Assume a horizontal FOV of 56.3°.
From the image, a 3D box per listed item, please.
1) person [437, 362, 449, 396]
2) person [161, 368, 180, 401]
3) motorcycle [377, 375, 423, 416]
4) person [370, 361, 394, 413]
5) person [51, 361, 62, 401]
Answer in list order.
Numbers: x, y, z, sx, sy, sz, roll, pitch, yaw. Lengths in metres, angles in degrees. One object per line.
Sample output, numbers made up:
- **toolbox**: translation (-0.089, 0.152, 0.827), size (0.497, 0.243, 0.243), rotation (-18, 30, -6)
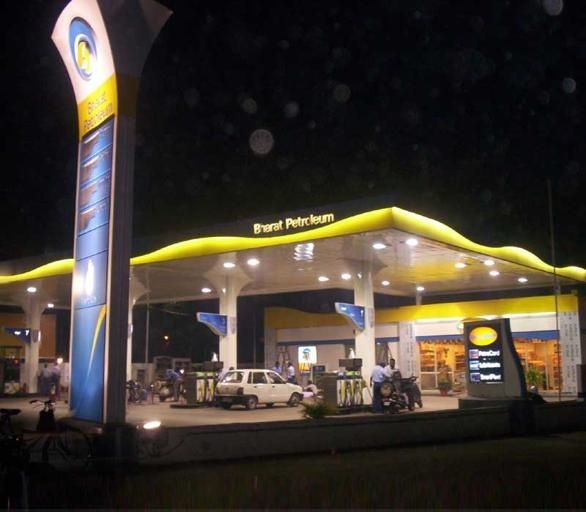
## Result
- **person**: translation (8.001, 6.434, 28.920), size (0.656, 1.520, 1.753), rotation (0, -7, 16)
- **person**: translation (-5.182, 5.693, 24.109), size (0.719, 0.983, 1.541), rotation (5, -6, 6)
- **motorcycle**: translation (3.695, 4.799, 19.169), size (0.894, 1.274, 1.924), rotation (-5, -5, 34)
- **person**: translation (2.991, 4.479, 18.617), size (0.567, 1.665, 0.683), rotation (2, -6, 0)
- **person**: translation (-11.556, 6.127, 27.104), size (0.471, 1.568, 2.397), rotation (5, -7, -23)
